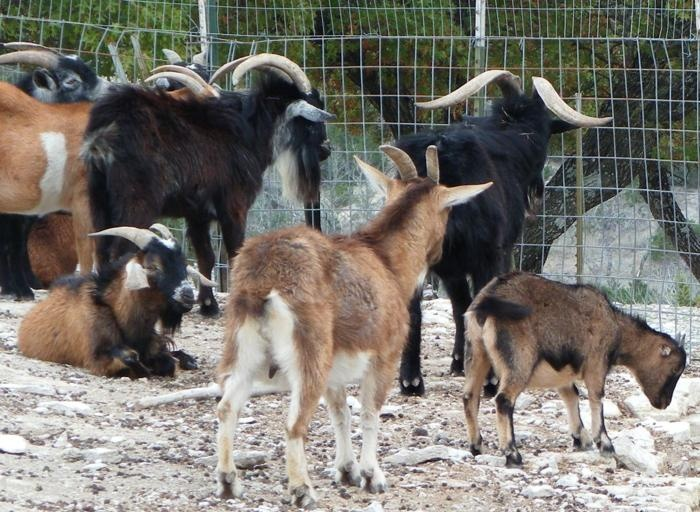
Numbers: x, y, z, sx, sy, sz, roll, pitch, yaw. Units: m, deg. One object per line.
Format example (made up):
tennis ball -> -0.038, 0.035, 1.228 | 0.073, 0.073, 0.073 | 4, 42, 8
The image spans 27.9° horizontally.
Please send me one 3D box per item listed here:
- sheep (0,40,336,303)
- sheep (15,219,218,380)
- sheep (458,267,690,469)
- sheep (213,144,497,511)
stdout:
sheep -> -2.077, -1.177, 16.453 | 3.697, 3.612, 1.828 | -4, 5, -42
sheep -> -2.420, 0.530, 15.056 | 2.041, 1.752, 1.208 | -1, -1, 17
sheep -> 2.247, 1.087, 13.610 | 2.042, 1.988, 0.787 | 2, 5, -10
sheep -> -0.133, 0.573, 12.522 | 2.234, 2.895, 0.979 | -5, 15, -29
